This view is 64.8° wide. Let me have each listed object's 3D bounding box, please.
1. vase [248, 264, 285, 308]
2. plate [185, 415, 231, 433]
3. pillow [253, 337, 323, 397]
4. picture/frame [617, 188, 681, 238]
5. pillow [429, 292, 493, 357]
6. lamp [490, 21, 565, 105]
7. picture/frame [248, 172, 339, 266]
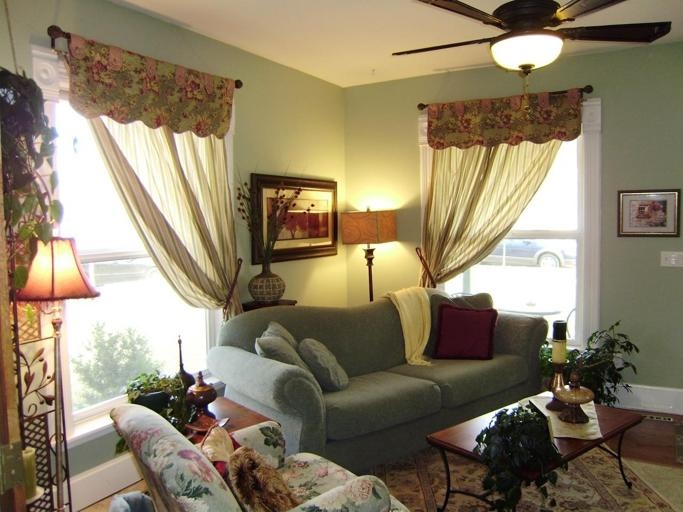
[{"bbox_3d":[-0.560,0.268,4.576,0.314,0.421,0.322,0,-4,-1],"label":"vase"},{"bbox_3d":[-0.763,0.950,3.031,0.117,0.038,0.126,4,14,34],"label":"plate"},{"bbox_3d":[-0.399,0.666,3.639,0.303,0.234,0.271,1,6,32],"label":"pillow"},{"bbox_3d":[2.673,-0.371,4.628,0.415,0.374,0.034,1,2,31],"label":"picture/frame"},{"bbox_3d":[1.015,0.638,4.442,0.477,0.515,0.193,2,-14,11],"label":"pillow"},{"bbox_3d":[0.969,-1.016,2.808,0.242,0.265,0.235,0,-3,-23],"label":"lamp"},{"bbox_3d":[-0.483,-0.348,5.095,0.042,0.670,0.917,1,4,36],"label":"picture/frame"}]
